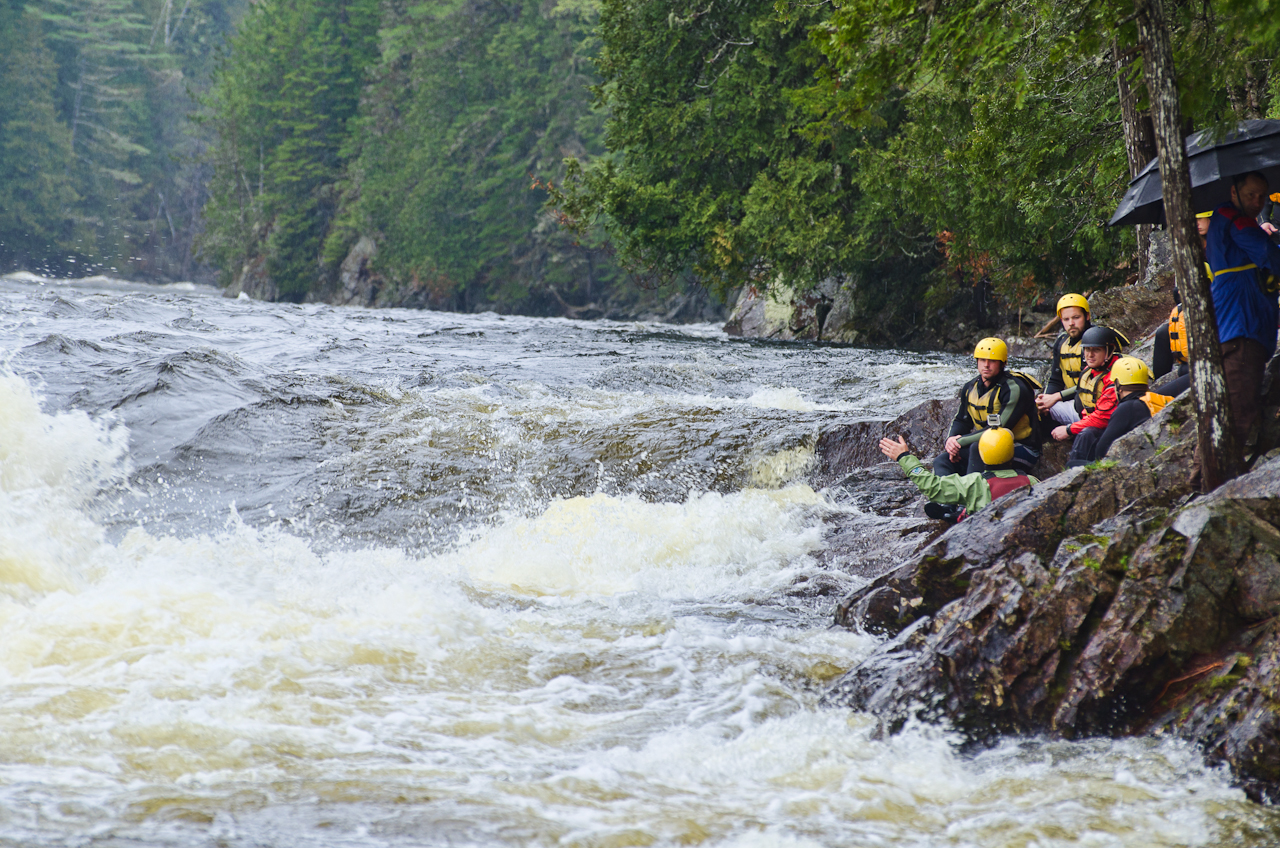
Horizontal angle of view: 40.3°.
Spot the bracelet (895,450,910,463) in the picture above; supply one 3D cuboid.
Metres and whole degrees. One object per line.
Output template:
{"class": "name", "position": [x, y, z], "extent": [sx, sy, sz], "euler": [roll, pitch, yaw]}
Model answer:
{"class": "bracelet", "position": [4.315, 0.487, 28.478], "extent": [0.220, 0.167, 0.120], "euler": [3, 9, 7]}

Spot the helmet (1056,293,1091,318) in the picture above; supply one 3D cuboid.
{"class": "helmet", "position": [7.614, -2.132, 30.555], "extent": [0.472, 0.381, 0.577], "euler": [3, 9, 10]}
